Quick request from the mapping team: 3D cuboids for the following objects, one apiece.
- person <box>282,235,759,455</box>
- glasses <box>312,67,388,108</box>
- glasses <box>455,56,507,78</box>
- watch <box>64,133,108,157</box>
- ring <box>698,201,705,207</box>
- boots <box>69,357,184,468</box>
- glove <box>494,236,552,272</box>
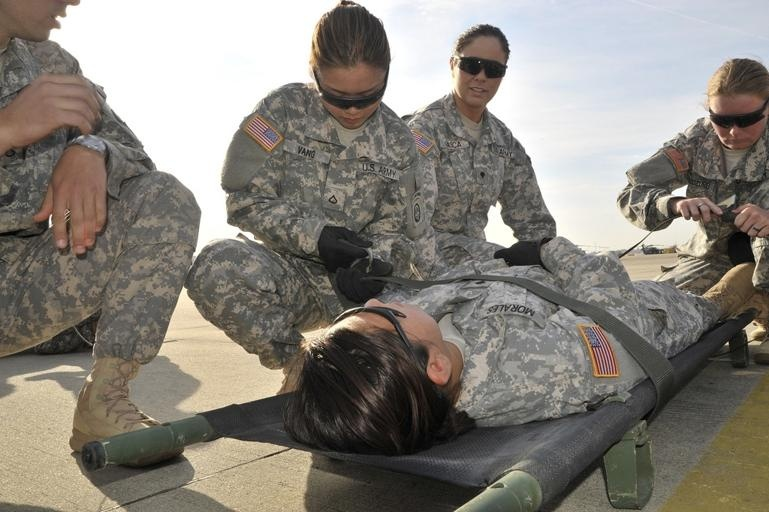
[{"bbox_3d":[0.562,0.224,2.379,1.667,0.406,0.844,-2,7,-26],"label":"person"},{"bbox_3d":[-0.181,-0.840,3.077,0.384,0.203,0.193,0,10,-3],"label":"glasses"},{"bbox_3d":[0.712,-1.377,4.430,0.357,0.171,0.129,1,10,4],"label":"glasses"},{"bbox_3d":[-1.231,-0.447,2.463,0.104,0.057,0.097,31,-44,-25],"label":"watch"},{"bbox_3d":[1.993,-0.316,3.776,0.029,0.032,0.033,1,10,4],"label":"ring"},{"bbox_3d":[-0.997,0.582,2.347,0.522,0.398,0.209,4,-8,24],"label":"boots"},{"bbox_3d":[0.766,0.000,3.362,0.305,0.110,0.329,-13,-9,-8],"label":"glove"}]
